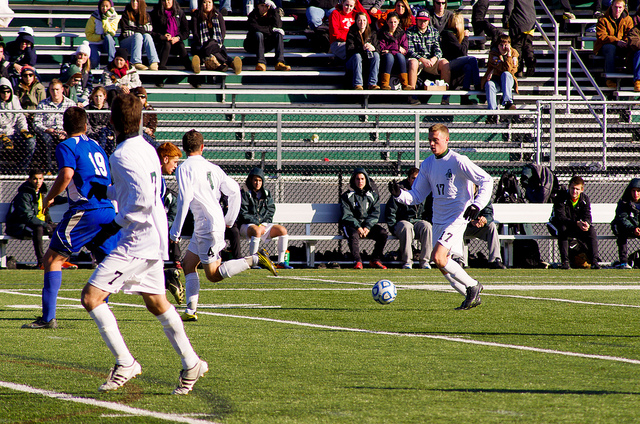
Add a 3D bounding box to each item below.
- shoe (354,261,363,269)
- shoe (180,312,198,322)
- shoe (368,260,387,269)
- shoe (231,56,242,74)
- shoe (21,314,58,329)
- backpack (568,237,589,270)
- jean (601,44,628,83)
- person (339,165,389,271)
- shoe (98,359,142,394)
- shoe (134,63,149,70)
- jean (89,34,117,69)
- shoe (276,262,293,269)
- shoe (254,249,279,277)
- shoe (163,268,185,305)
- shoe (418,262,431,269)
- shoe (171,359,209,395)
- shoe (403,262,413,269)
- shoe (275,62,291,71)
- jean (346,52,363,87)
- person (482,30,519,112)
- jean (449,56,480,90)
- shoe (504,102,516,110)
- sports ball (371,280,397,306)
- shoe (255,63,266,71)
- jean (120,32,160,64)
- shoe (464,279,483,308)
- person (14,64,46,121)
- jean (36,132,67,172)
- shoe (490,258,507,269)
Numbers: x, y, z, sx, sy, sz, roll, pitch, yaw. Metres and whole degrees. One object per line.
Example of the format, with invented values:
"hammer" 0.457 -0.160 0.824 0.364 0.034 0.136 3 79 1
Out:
"shoe" 0.872 1.215 30.794 0.176 0.145 0.192 1 11 3
"shoe" -2.253 1.832 23.407 0.310 0.151 0.117 4 1 2
"shoe" 1.310 1.227 30.980 0.451 0.213 0.156 1 1 6
"shoe" -2.121 -3.803 34.521 0.241 0.455 0.585 0 11 -6
"shoe" -4.697 1.863 22.693 0.593 0.257 0.220 4 -8 -5
"backpack" 5.972 0.920 31.178 0.357 0.702 0.486 -2 24 29
"jean" 7.862 -4.141 36.036 0.226 0.769 0.795 -5 12 -28
"person" 0.986 0.134 30.839 1.078 2.316 0.735 1 10 0
"shoe" -3.026 2.479 20.400 0.690 0.369 0.264 -27 2 -14
"shoe" -4.500 -3.694 33.881 0.306 0.218 0.105 -5 37 -8
"jean" -5.467 -4.136 34.364 0.857 0.856 0.780 5 11 23
"shoe" -0.793 1.214 30.645 0.396 0.179 0.135 2 2 -16
"shoe" -1.113 1.063 27.767 0.265 0.598 0.201 -27 25 20
"shoe" -2.579 1.362 24.031 0.242 0.714 0.318 -19 16 19
"shoe" 2.408 1.222 30.766 0.301 0.189 0.334 1 11 2
"shoe" -1.979 2.511 20.343 0.673 0.322 0.233 -45 14 -6
"shoe" 1.987 1.210 30.629 0.195 0.140 0.154 -1 11 -7
"shoe" -0.985 -3.797 35.061 0.461 0.204 0.161 -1 7 6
"jean" 0.888 -3.680 34.403 0.250 0.883 0.475 -9 14 -43
"person" 4.634 -3.620 34.343 0.841 1.891 1.498 2 10 7
"jean" 3.730 -3.674 34.996 0.775 0.888 0.562 -8 15 -5
"shoe" 4.774 -2.688 33.872 0.277 0.156 1.013 2 11 8
"sports ball" 1.212 1.472 24.630 0.401 0.425 0.413 10 -9 2
"shoe" -1.535 -3.821 35.056 0.253 0.205 0.315 -1 11 -9
"jean" -4.532 -4.271 33.975 0.669 1.170 1.066 -3 9 -43
"shoe" 2.774 1.514 24.346 0.257 0.576 0.186 28 -11 -31
"person" -6.896 -2.755 32.086 0.809 1.691 0.488 3 31 -4
"jean" -6.149 -1.366 30.521 0.514 0.926 0.234 -1 10 -9
"shoe" 4.049 1.173 30.874 0.316 0.270 0.172 3 10 9
